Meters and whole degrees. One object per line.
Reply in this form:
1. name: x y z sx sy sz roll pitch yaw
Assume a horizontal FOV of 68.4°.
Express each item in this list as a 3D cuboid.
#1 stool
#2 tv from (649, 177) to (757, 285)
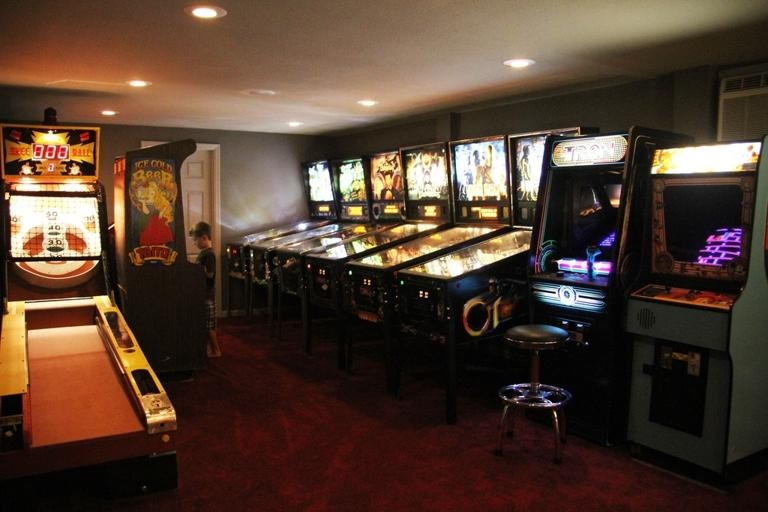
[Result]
1. stool: 1.248 1.029 4.656 0.580 1.019 0.709 3 12 18
2. tv: 2.462 -0.208 4.300 0.909 1.048 0.089 1 -2 40
